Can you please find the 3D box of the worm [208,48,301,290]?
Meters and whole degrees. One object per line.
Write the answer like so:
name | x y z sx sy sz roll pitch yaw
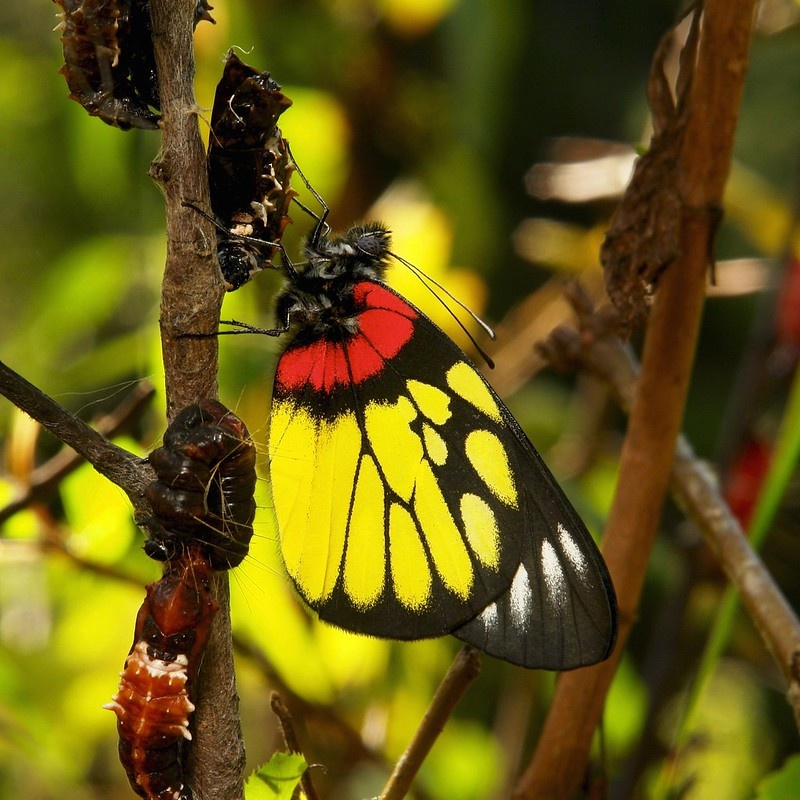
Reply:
worm | -0.089 -0.135 0.704 0.048 0.138 0.046 1 2 -36

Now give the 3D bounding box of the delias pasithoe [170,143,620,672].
delias pasithoe | 0.002 0.018 0.828 0.174 0.315 0.325 1 -12 -23
